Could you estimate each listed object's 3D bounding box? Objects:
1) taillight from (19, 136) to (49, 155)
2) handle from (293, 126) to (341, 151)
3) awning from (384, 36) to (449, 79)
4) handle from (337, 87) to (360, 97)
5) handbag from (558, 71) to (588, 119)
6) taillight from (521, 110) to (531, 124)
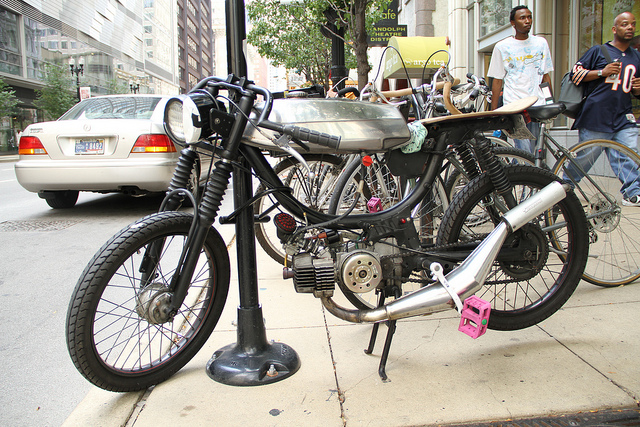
[{"bbox_3d":[-4.318,-1.002,7.598,0.339,0.128,0.336,2,3,9],"label":"taillight"},{"bbox_3d":[-0.012,-0.515,3.499,0.375,0.130,0.125,14,20,-5],"label":"handle"},{"bbox_3d":[2.334,-3.873,12.086,1.443,0.771,1.406,-8,14,-16],"label":"awning"},{"bbox_3d":[0.299,-1.083,4.516,0.218,0.095,0.239,10,21,42],"label":"handle"},{"bbox_3d":[2.848,-1.391,5.822,0.182,0.413,0.324,6,12,27],"label":"handbag"},{"bbox_3d":[1.605,-0.760,3.953,0.039,0.104,0.117,-11,9,-6],"label":"taillight"}]
